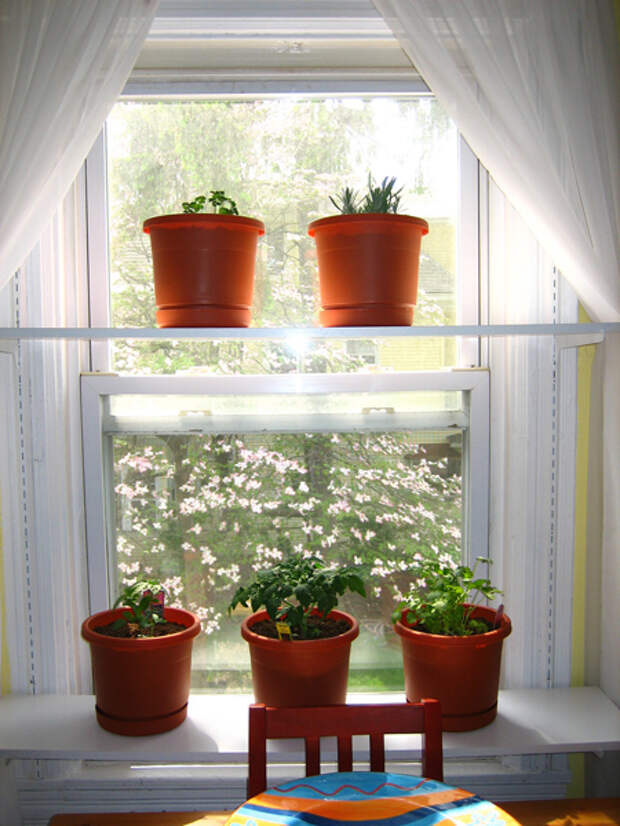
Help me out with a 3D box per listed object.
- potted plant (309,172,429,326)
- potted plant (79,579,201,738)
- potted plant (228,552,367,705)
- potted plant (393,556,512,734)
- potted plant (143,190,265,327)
[{"bbox_3d":[0.107,-0.302,1.533,0.257,0.254,0.218,-1,2,-14],"label":"potted plant"},{"bbox_3d":[-0.330,0.478,1.592,0.227,0.279,0.228,-1,4,10],"label":"potted plant"},{"bbox_3d":[-0.026,0.430,1.568,0.247,0.269,0.249,-3,5,-22],"label":"potted plant"},{"bbox_3d":[0.280,0.465,1.619,0.245,0.278,0.236,-1,-2,-8],"label":"potted plant"},{"bbox_3d":[-0.207,-0.303,1.532,0.260,0.251,0.254,3,6,38],"label":"potted plant"}]
